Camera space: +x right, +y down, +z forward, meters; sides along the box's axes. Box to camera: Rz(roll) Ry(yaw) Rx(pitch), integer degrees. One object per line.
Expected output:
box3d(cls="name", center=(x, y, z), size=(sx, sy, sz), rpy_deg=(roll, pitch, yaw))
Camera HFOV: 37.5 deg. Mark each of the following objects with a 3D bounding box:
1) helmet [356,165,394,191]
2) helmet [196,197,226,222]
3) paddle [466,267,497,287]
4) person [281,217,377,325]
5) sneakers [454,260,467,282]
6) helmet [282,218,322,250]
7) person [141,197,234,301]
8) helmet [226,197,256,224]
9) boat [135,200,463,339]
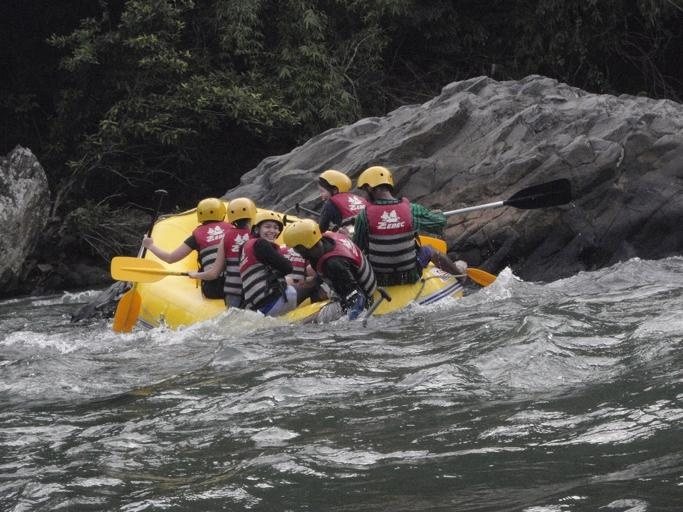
box3d(cls="helmet", center=(0.449, -1.082, 13.713), size=(0.456, 0.227, 0.301), rpy_deg=(-1, 6, 6))
box3d(cls="helmet", center=(-1.883, -0.673, 14.423), size=(0.340, 0.334, 0.379), rpy_deg=(2, 17, -1))
box3d(cls="paddle", center=(1.953, 0.317, 14.298), size=(0.392, 0.300, 0.625), rpy_deg=(-4, 6, -9))
box3d(cls="person", center=(-0.154, 0.247, 13.228), size=(0.743, 0.809, 1.241), rpy_deg=(-18, -41, 33))
box3d(cls="sneakers", center=(1.692, 0.200, 14.181), size=(0.263, 0.280, 0.115), rpy_deg=(-3, -6, 3))
box3d(cls="helmet", center=(-0.488, -0.259, 12.866), size=(0.474, 0.312, 0.324), rpy_deg=(-18, 19, 17))
box3d(cls="person", center=(-1.994, -0.235, 14.118), size=(1.225, 1.450, 0.669), rpy_deg=(2, 30, -42))
box3d(cls="helmet", center=(-1.364, -0.663, 14.035), size=(0.338, 0.334, 0.391), rpy_deg=(-3, 3, 2))
box3d(cls="boat", center=(-1.002, 0.118, 13.925), size=(3.236, 0.886, 2.118), rpy_deg=(-10, -8, -8))
